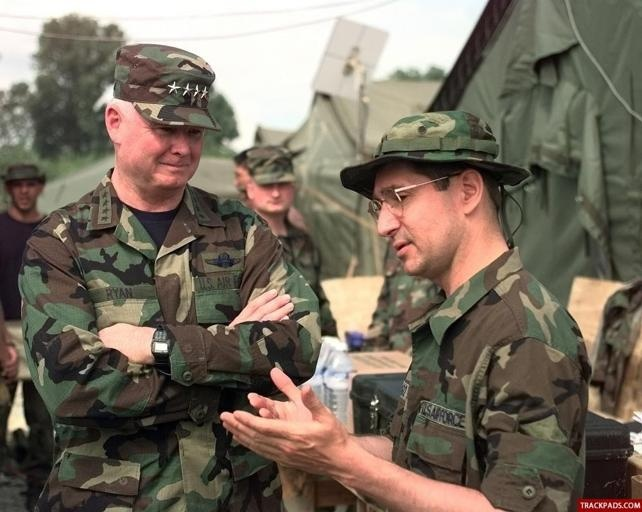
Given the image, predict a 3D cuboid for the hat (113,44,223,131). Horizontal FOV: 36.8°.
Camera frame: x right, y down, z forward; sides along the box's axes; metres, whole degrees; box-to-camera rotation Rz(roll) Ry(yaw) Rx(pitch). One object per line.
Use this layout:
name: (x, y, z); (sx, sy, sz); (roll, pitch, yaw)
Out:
hat: (-0.781, -0.852, 4.882); (0.509, 0.296, 0.401); (15, 10, 29)
